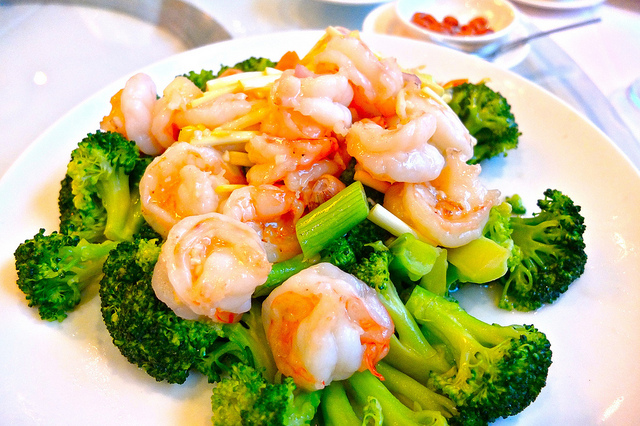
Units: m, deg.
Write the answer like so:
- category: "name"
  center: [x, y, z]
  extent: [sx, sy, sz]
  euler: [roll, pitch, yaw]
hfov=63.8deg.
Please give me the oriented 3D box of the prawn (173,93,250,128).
- category: "prawn"
  center: [-0.733, -0.716, 3.546]
  extent: [0.424, 0.126, 0.235]
  euler: [-16, 40, 0]

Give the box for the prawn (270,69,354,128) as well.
- category: "prawn"
  center: [-0.062, -0.734, 3.344]
  extent: [0.450, 0.183, 0.336]
  euler: [14, 77, -18]

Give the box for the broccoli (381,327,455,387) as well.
- category: "broccoli"
  center: [0.602, 0.916, 3.246]
  extent: [0.398, 0.115, 0.287]
  euler: [34, 71, 18]

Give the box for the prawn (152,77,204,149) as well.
- category: "prawn"
  center: [-0.992, -0.796, 3.671]
  extent: [0.326, 0.126, 0.251]
  euler: [12, 35, -5]

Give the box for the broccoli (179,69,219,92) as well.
- category: "broccoli"
  center: [-0.949, -1.088, 4.124]
  extent: [0.237, 0.114, 0.241]
  euler: [17, 31, 25]

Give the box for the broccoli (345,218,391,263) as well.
- category: "broccoli"
  center: [0.310, 0.199, 3.407]
  extent: [0.272, 0.087, 0.279]
  euler: [29, 55, -4]

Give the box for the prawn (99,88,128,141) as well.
- category: "prawn"
  center: [-1.495, -0.691, 3.726]
  extent: [0.105, 0.256, 0.331]
  euler: [15, 76, -37]

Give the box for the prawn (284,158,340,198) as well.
- category: "prawn"
  center: [-0.048, -0.242, 3.456]
  extent: [0.354, 0.106, 0.196]
  euler: [-28, 72, -14]
